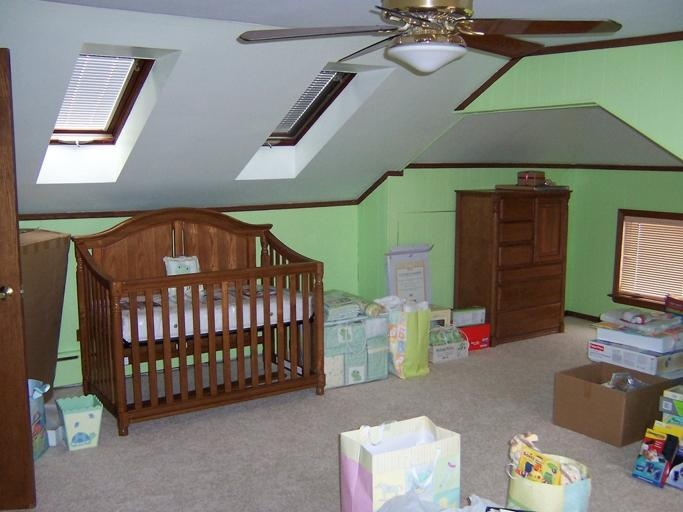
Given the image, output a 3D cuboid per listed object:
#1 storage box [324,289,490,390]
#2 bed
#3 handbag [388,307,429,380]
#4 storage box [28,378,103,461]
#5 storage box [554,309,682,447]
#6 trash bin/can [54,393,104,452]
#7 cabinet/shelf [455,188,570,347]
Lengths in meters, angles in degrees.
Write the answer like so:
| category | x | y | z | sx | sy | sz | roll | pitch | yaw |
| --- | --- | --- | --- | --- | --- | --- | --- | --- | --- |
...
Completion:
| category | x | y | z | sx | sy | sz | roll | pitch | yaw |
| --- | --- | --- | --- | --- | --- | --- | --- | --- | --- |
| storage box | 0.324 | 0.734 | 4.702 | 0.831 | 0.498 | 0.818 | -4 | 7 | -44 |
| bed | -1.149 | 0.443 | 4.607 | 1.761 | 1.444 | 0.950 | -5 | 12 | -38 |
| handbag | 0.586 | 0.779 | 5.055 | 0.423 | 0.554 | 0.373 | 1 | -1 | 43 |
| storage box | -1.858 | 1.076 | 3.903 | 0.300 | 0.423 | 0.439 | -2 | 6 | -36 |
| storage box | 1.932 | 1.049 | 4.004 | 0.485 | 0.406 | 0.630 | -11 | 16 | -43 |
| trash bin/can | -1.797 | 1.162 | 3.822 | 0.304 | 0.297 | 0.264 | -1 | -5 | -21 |
| cabinet/shelf | 1.769 | 0.110 | 5.823 | 1.417 | 1.807 | 0.875 | -5 | 14 | -19 |
